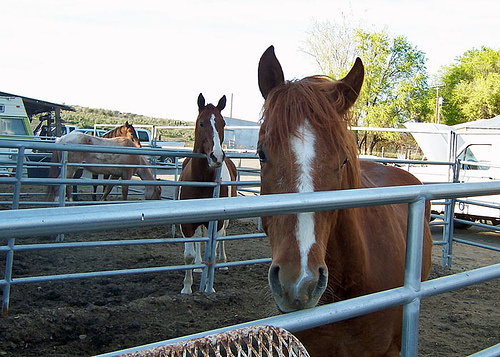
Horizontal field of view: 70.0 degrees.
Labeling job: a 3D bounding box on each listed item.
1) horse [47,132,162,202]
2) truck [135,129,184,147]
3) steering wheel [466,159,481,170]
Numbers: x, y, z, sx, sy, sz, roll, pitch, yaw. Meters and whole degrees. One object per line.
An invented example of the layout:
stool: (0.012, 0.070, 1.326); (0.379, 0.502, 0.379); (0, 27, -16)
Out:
horse: (-3.721, -0.180, 9.375); (3.027, 1.851, 0.716); (6, -4, -45)
truck: (-5.186, -2.117, 19.373); (1.465, 0.768, 1.038); (0, 2, -16)
steering wheel: (5.526, -0.349, 8.846); (0.303, 0.262, 0.703); (-10, -6, 32)
